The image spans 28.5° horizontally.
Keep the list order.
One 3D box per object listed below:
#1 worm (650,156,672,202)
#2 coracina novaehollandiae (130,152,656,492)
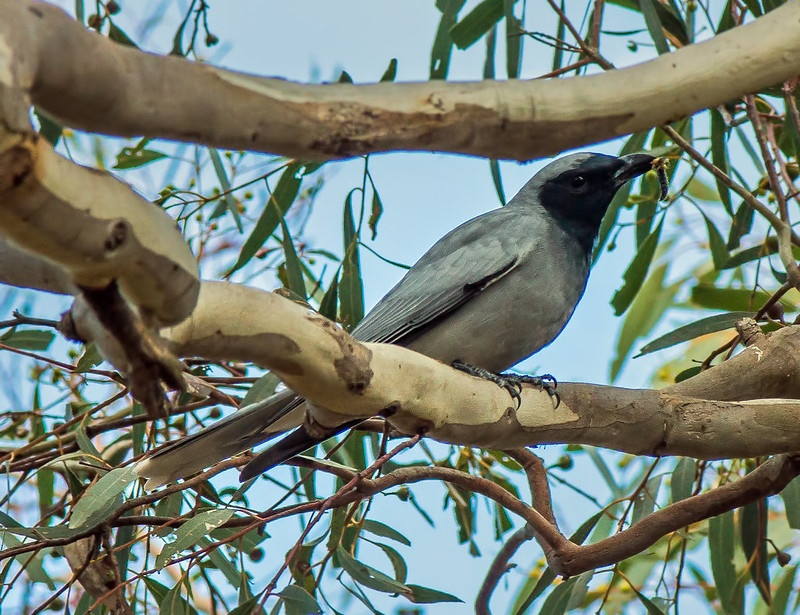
[{"bbox_3d":[0.888,-0.438,5.368,0.037,0.070,0.138,-11,-79,20],"label":"worm"},{"bbox_3d":[0.034,0.009,5.574,1.876,0.569,0.907,-10,-107,7],"label":"coracina novaehollandiae"}]
